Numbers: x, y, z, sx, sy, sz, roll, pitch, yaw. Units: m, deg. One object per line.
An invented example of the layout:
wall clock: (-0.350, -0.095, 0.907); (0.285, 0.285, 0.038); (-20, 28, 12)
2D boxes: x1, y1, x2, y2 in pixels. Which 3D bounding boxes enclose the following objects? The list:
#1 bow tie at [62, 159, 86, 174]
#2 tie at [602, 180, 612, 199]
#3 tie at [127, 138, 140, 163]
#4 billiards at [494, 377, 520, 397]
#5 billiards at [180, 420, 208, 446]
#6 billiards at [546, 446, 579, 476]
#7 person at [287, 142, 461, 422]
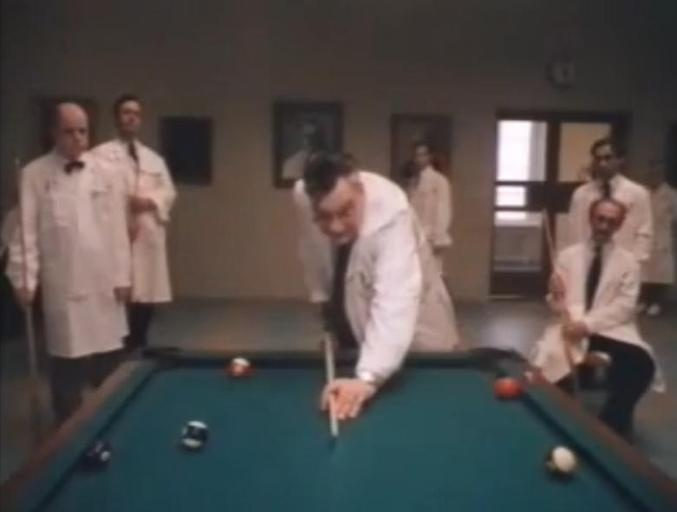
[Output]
bow tie: (-0.962, -0.325, 2.081); (0.067, 0.047, 0.024); (-4, 15, -15)
tie: (0.956, -0.239, 2.049); (0.036, 0.053, 0.012); (5, 0, -1)
tie: (-0.754, -0.385, 2.093); (0.040, 0.056, 0.016); (-13, 14, -19)
billiards: (0.487, 0.370, 1.654); (0.056, 0.032, 0.048); (-7, 17, -28)
billiards: (-0.381, 0.456, 1.499); (0.048, 0.066, 0.024); (3, -23, 3)
billiards: (0.548, 0.500, 1.408); (0.076, 0.060, 0.038); (-1, 11, -4)
person: (0.166, 0.181, 2.096); (0.465, 1.193, 0.709); (-15, 35, -1)
